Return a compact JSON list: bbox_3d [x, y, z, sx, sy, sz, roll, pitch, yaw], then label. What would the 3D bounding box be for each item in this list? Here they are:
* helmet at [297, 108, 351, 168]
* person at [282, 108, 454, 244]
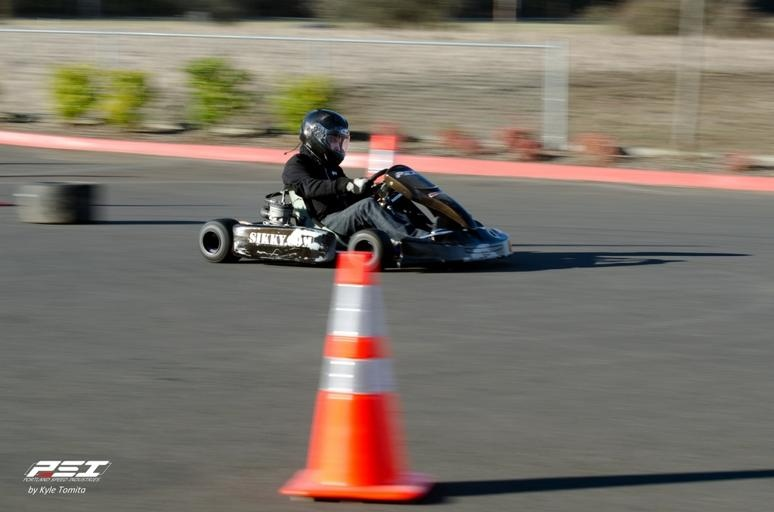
[{"bbox_3d":[-0.470,-1.088,11.576,0.502,0.422,0.536,2,14,-33],"label":"helmet"},{"bbox_3d":[-0.380,-0.729,11.195,0.781,1.103,1.140,-7,10,-27],"label":"person"}]
